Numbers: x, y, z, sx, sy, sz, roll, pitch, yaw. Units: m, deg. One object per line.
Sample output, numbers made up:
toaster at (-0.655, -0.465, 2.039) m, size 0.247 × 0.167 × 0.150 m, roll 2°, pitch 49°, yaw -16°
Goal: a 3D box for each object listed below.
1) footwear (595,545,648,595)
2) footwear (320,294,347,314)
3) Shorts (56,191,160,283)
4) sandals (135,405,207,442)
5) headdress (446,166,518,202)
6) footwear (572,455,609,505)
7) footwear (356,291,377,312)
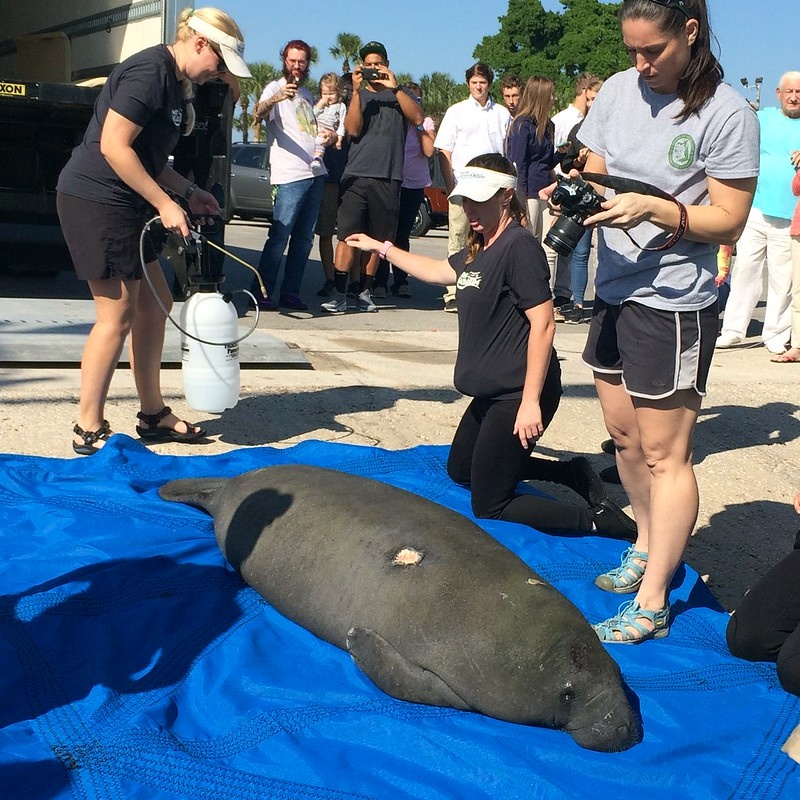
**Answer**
footwear at (0.952, 0.734, 3.698) m, size 0.118 × 0.110 × 0.277 m, roll 6°, pitch 9°, yaw 44°
footwear at (-0.719, -1.024, 9.310) m, size 0.143 × 0.126 × 0.347 m, roll 3°, pitch 5°, yaw 15°
Shorts at (-1.525, -0.858, 4.761) m, size 0.454 × 0.556 × 0.674 m, roll 18°, pitch 18°, yaw 40°
sandals at (-1.292, 0.157, 5.173) m, size 0.488 × 0.188 × 0.162 m, roll 0°, pitch 11°, yaw -5°
headdress at (0.383, -0.973, 3.896) m, size 0.164 × 0.074 × 0.236 m, roll 13°, pitch 23°, yaw 37°
footwear at (0.919, 0.389, 4.301) m, size 0.148 × 0.255 × 0.067 m, roll -39°, pitch -14°, yaw 28°
footwear at (-0.389, -1.111, 9.770) m, size 0.151 × 0.146 × 0.353 m, roll -3°, pitch 15°, yaw -20°
